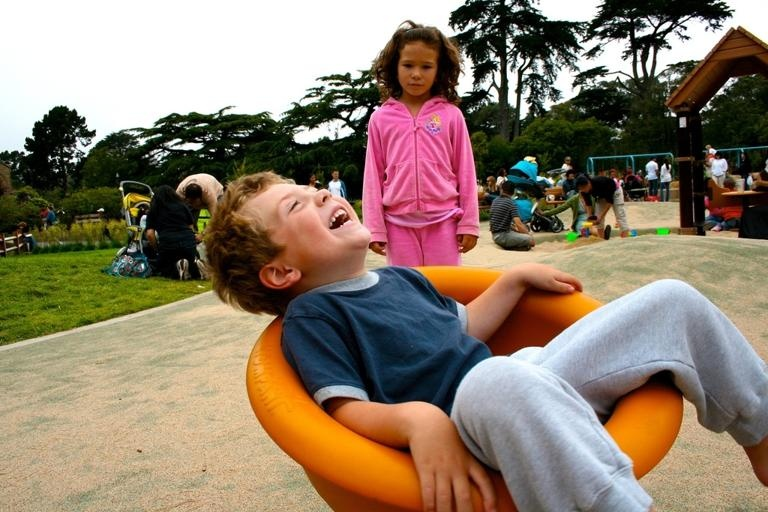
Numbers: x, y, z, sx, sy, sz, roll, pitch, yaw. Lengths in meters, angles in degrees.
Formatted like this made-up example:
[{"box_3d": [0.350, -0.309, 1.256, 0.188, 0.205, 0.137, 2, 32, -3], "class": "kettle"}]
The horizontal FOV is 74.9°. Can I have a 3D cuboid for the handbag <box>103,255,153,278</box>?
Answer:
[{"box_3d": [-3.679, 0.143, 7.199, 0.495, 0.172, 0.373, 4, 22, 11], "class": "handbag"}]

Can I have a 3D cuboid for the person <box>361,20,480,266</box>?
[{"box_3d": [0.185, -0.620, 2.760, 0.629, 1.308, 0.465, -1, 11, 6], "class": "person"}]

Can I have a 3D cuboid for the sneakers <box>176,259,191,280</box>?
[{"box_3d": [-2.795, 0.173, 6.959, 0.169, 0.289, 0.105, -6, 12, -22], "class": "sneakers"}]

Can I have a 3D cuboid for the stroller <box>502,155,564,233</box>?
[{"box_3d": [3.180, -1.379, 10.911, 1.281, 1.622, 0.923, -2, 6, -14], "class": "stroller"}]
